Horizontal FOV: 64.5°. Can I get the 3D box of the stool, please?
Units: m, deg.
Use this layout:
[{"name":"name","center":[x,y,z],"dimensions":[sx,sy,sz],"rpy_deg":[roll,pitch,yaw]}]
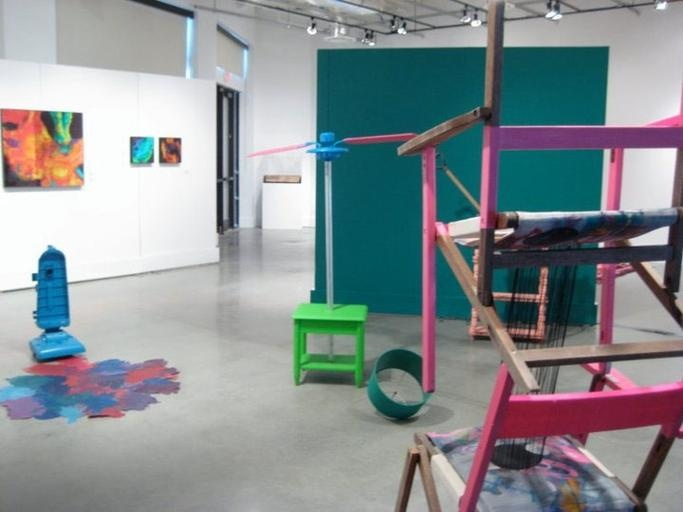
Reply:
[{"name":"stool","center":[-0.085,0.711,4.327],"dimensions":[0.632,0.531,0.592],"rpy_deg":[2,3,14]}]
